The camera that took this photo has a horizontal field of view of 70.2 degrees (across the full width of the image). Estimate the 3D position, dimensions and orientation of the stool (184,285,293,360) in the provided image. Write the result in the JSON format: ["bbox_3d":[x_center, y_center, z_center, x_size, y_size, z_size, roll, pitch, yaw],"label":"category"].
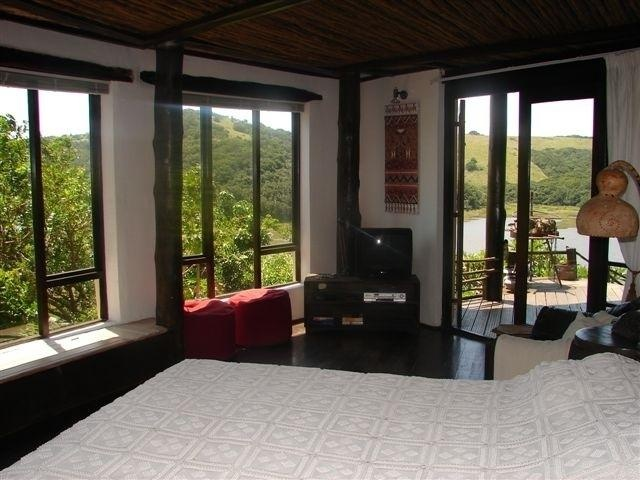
[{"bbox_3d":[-0.964,0.981,5.214,0.495,0.631,1.312,8,13,44],"label":"stool"}]

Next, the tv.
[{"bbox_3d":[0.863,0.138,6.043,1.091,0.876,0.556,1,5,11],"label":"tv"}]

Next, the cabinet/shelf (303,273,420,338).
[{"bbox_3d":[0.529,0.817,5.748,1.432,0.675,0.195,-1,11,4],"label":"cabinet/shelf"}]

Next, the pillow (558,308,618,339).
[{"bbox_3d":[1.823,0.555,3.063,0.227,0.071,0.240,-20,-1,9],"label":"pillow"}]
